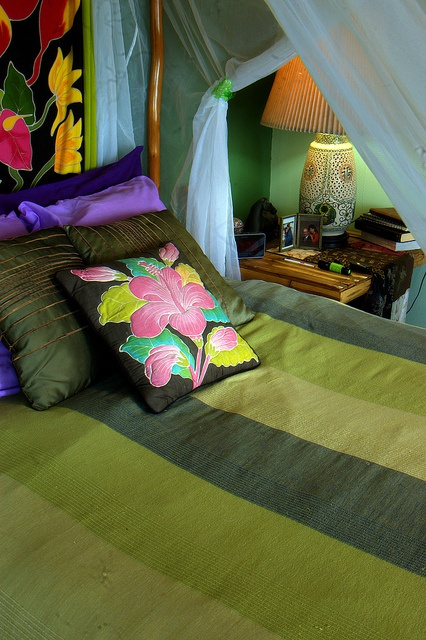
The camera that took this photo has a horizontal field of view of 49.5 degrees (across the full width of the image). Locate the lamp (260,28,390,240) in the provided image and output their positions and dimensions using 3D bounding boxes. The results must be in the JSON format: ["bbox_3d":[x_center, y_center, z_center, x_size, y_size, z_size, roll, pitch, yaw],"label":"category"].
[{"bbox_3d":[0.550,-0.855,2.176,0.466,0.813,0.472,-21,32,-9],"label":"lamp"}]

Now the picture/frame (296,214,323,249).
[{"bbox_3d":[0.462,-0.427,2.203,0.152,0.210,0.021,8,28,21],"label":"picture/frame"}]

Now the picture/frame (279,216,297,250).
[{"bbox_3d":[0.356,-0.419,2.210,0.012,0.173,0.133,16,25,41],"label":"picture/frame"}]
